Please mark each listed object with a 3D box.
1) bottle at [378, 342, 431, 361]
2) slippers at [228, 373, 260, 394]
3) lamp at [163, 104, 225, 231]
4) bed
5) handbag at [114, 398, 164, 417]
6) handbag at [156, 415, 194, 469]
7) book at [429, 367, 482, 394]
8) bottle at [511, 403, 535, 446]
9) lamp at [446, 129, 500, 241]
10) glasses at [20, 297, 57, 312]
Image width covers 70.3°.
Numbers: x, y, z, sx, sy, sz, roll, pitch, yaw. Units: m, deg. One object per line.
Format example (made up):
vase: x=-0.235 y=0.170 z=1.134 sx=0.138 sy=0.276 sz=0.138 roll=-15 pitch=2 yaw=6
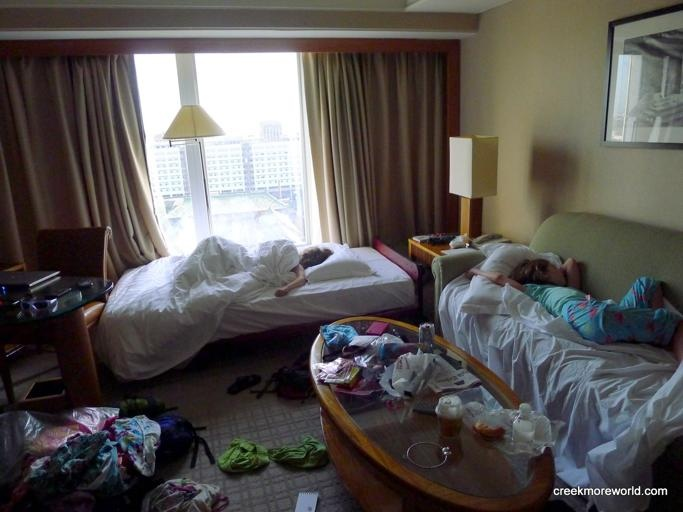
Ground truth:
bottle: x=0.334 y=0.540 z=2.774 sx=0.192 sy=0.070 sz=0.119 roll=-5 pitch=9 yaw=3
slippers: x=-0.699 y=0.902 z=3.463 sx=0.188 sy=0.068 sz=0.099 roll=-24 pitch=32 yaw=-22
lamp: x=-1.285 y=-0.734 z=4.363 sx=0.491 sy=1.227 sz=0.759 roll=-9 pitch=16 yaw=-17
bed: x=-0.686 y=0.300 z=3.803 sx=1.880 sy=0.631 sz=1.209 roll=-6 pitch=22 yaw=-13
handbag: x=-1.284 y=0.945 z=3.118 sx=0.219 sy=0.067 sz=0.126 roll=3 pitch=10 yaw=-32
handbag: x=-0.997 y=1.095 z=2.917 sx=0.212 sy=0.179 sz=0.307 roll=-9 pitch=15 yaw=-16
book: x=0.600 y=0.669 z=2.557 sx=0.139 sy=0.047 sz=0.136 roll=-13 pitch=18 yaw=-19
bottle: x=0.822 y=0.761 z=2.190 sx=0.091 sy=0.161 sz=0.162 roll=2 pitch=7 yaw=19
lamp: x=1.158 y=-0.507 z=4.358 sx=0.453 sy=1.042 sz=0.456 roll=-3 pitch=13 yaw=-1
glasses: x=-1.756 y=0.283 z=2.820 sx=0.110 sy=0.130 sz=0.039 roll=6 pitch=34 yaw=-16
